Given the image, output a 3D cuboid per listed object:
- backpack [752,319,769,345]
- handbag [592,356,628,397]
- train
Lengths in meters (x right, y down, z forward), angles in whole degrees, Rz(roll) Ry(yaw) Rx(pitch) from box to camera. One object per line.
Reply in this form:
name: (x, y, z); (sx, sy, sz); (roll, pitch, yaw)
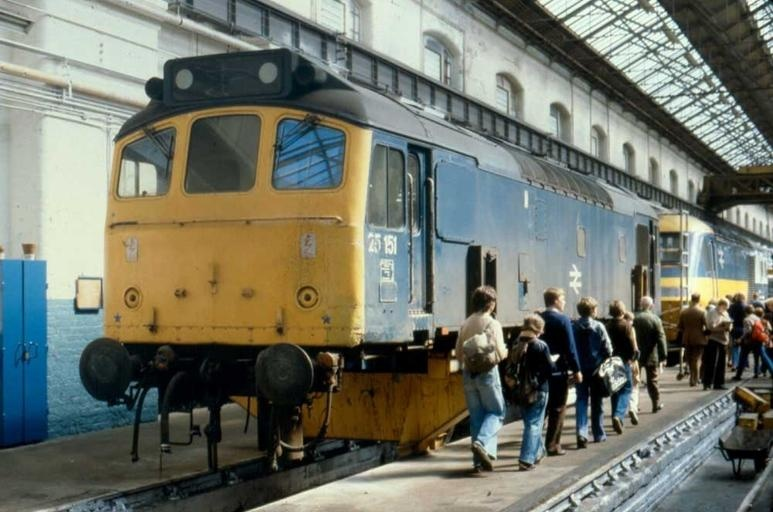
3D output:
backpack: (9.766, 2.008, 21.932); (0.222, 0.684, 0.451); (-2, -10, 15)
handbag: (3.924, 2.126, 14.856); (0.239, 0.677, 0.719); (-9, 1, 31)
train: (1.170, 0.030, 17.365); (4.254, 5.225, 14.326); (0, 0, 32)
